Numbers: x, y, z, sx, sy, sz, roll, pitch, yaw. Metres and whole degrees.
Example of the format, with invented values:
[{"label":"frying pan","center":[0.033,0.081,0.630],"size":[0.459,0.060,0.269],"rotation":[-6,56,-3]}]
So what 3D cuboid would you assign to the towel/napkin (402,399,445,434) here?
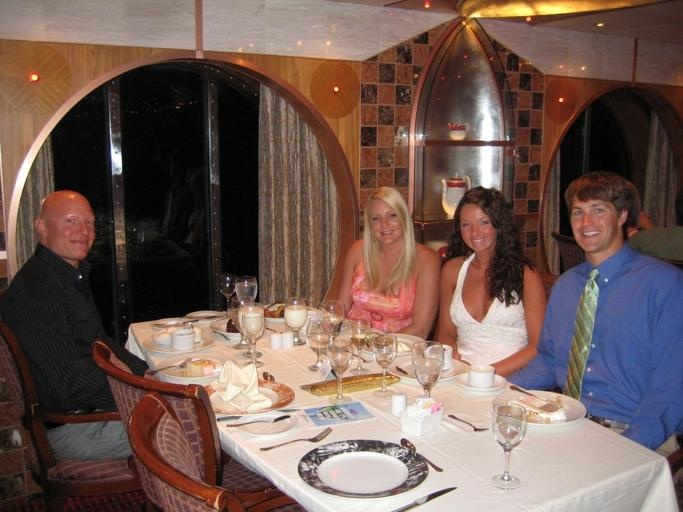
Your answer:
[{"label":"towel/napkin","center":[0.267,0.518,1.736],"size":[0.104,0.074,0.152],"rotation":[8,18,42]}]

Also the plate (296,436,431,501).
[{"label":"plate","center":[0.061,0.593,1.484],"size":[0.354,0.039,0.256],"rotation":[5,11,18]}]

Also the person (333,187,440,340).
[{"label":"person","center":[0.311,-0.024,3.329],"size":[0.723,1.101,0.798],"rotation":[7,10,21]}]

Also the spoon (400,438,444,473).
[{"label":"spoon","center":[0.228,0.587,1.557],"size":[0.038,0.025,0.182],"rotation":[-15,21,-19]}]

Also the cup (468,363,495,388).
[{"label":"cup","center":[0.539,0.449,2.015],"size":[0.077,0.066,0.081],"rotation":[-3,12,1]}]

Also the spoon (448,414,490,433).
[{"label":"spoon","center":[0.415,0.551,1.743],"size":[0.039,0.025,0.163],"rotation":[-16,17,-37]}]

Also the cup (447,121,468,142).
[{"label":"cup","center":[0.991,-1.066,4.517],"size":[0.150,0.121,0.120],"rotation":[0,7,-8]}]

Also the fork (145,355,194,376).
[{"label":"fork","center":[-0.716,0.458,2.221],"size":[0.051,0.041,0.267],"rotation":[3,10,28]}]

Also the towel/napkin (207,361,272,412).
[{"label":"towel/napkin","center":[-0.365,0.468,1.874],"size":[0.164,0.070,0.171],"rotation":[2,21,-2]}]
